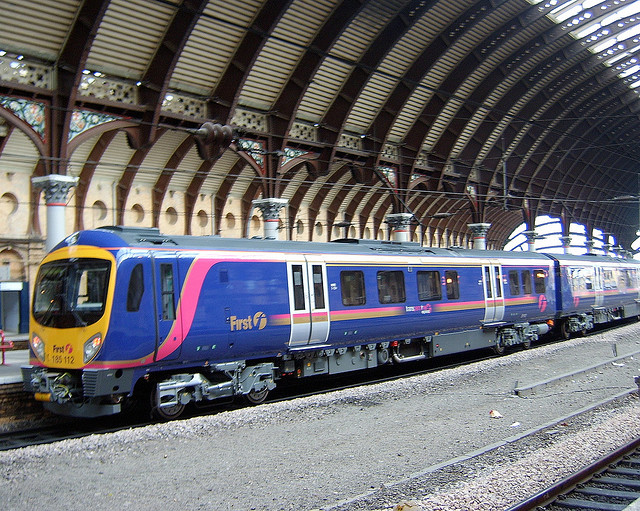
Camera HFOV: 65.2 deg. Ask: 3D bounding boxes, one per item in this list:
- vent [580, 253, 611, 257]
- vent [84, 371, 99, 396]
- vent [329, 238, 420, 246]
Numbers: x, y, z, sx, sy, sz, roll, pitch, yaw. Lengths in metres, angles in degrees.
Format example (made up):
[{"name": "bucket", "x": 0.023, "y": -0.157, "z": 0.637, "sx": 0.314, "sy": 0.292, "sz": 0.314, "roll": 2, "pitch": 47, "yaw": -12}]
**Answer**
[{"name": "vent", "x": 19.619, "y": -0.057, "z": 35.557, "sx": 3.567, "sy": 0.320, "sz": 0.329, "roll": 2, "pitch": -3, "yaw": -17}, {"name": "vent", "x": -4.494, "y": 2.510, "z": 9.800, "sx": 0.385, "sy": 0.469, "sz": 0.079, "roll": -8, "pitch": -10, "yaw": 32}, {"name": "vent", "x": 1.750, "y": -0.422, "z": 16.453, "sx": 3.233, "sy": 0.265, "sz": 0.659, "roll": 2, "pitch": -8, "yaw": -34}]
